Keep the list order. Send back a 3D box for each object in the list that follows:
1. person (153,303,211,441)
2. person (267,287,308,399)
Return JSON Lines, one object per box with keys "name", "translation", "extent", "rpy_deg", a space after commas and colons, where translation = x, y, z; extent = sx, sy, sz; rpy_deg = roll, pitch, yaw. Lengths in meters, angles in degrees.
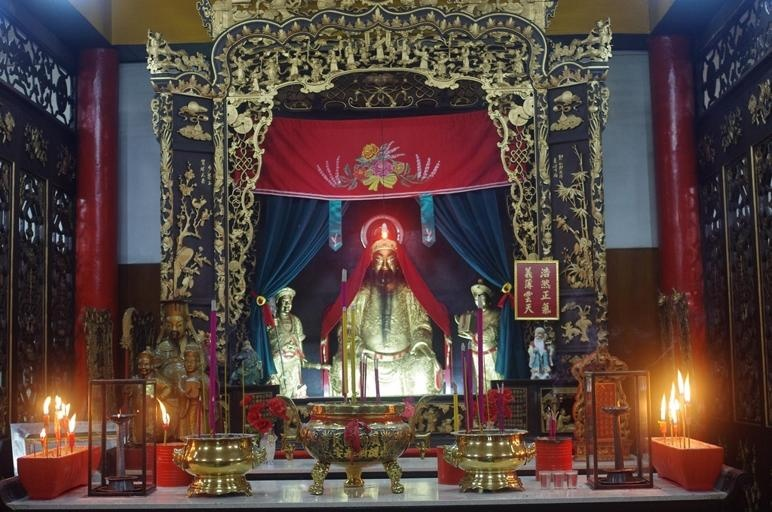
{"name": "person", "translation": [-1.613, 0.906, 7.078], "extent": [0.476, 1.122, 0.350], "rpy_deg": [-2, 11, -6]}
{"name": "person", "translation": [-0.905, 0.776, 8.386], "extent": [0.354, 0.982, 0.186], "rpy_deg": [3, -12, -17]}
